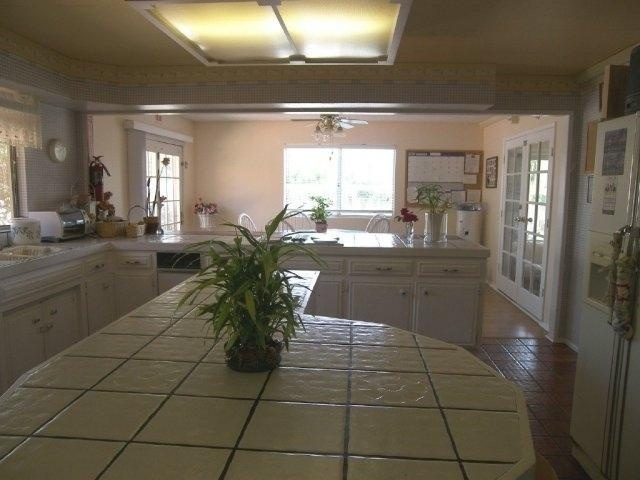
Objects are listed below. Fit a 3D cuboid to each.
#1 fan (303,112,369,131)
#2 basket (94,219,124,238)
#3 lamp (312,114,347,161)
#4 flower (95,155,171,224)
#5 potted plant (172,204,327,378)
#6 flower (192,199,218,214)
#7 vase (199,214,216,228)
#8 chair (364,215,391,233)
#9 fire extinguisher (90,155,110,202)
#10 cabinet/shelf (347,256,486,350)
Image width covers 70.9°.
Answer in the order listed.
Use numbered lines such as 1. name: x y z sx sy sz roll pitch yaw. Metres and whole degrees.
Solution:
1. fan: 0.177 -1.448 5.431 0.624 0.191 0.625 2 9 1
2. basket: -2.046 -0.113 4.404 0.182 0.116 0.181 1 4 -20
3. lamp: 0.029 -1.347 6.044 0.607 0.607 0.603 2 6 9
4. flower: -1.955 -0.558 4.916 0.755 0.911 0.581 0 8 -9
5. potted plant: -0.284 0.219 1.720 0.442 0.548 0.456 8 -18 -41
6. flower: -1.854 -0.594 7.349 0.331 0.171 0.316 2 6 -2
7. vase: -1.828 -0.305 7.283 0.242 0.186 0.242 0 0 3
8. chair: 0.807 -0.223 6.297 0.262 0.365 0.386 3 14 8
9. fire extinguisher: -2.188 -0.608 4.474 0.171 0.454 0.192 -4 9 -27
10. cabinet/shelf: 0.888 0.502 3.942 1.255 0.765 0.698 0 1 5
